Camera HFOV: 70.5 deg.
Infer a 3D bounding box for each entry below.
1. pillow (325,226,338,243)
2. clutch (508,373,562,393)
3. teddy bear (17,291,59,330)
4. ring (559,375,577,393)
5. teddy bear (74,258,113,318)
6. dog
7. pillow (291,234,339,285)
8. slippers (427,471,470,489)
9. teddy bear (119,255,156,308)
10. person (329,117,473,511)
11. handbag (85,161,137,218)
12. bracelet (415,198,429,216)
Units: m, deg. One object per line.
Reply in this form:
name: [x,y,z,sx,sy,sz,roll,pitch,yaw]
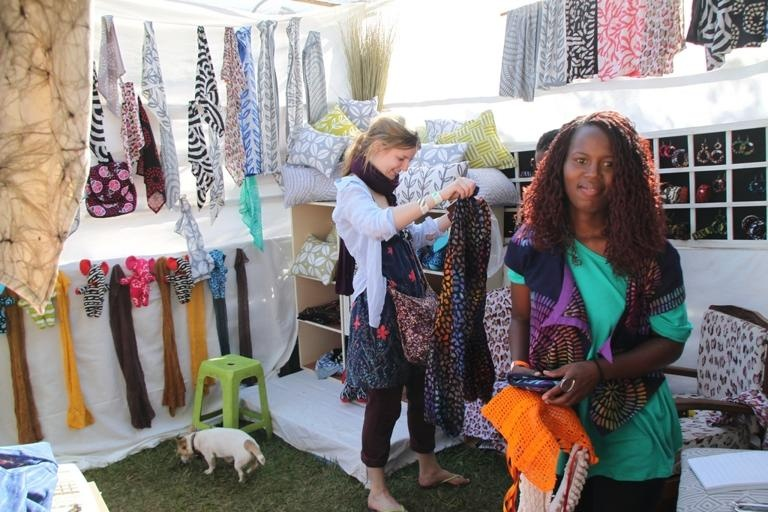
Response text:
pillow: [-0.495,-0.200,5.122,0.069,0.159,0.151,14,40,-15]
clutch: [0.558,0.479,2.074,0.129,0.032,0.077,-4,-2,41]
teddy bear: [-2.577,0.437,4.078,0.243,0.263,0.198,-10,13,-34]
ring: [0.670,0.475,1.988,0.047,0.054,0.016,1,11,18]
teddy bear: [-2.299,0.264,4.322,0.268,0.476,0.161,-9,12,-31]
dog: [-1.177,1.439,3.992,0.715,0.371,0.198,1,10,17]
pillow: [-0.588,0.048,5.015,0.432,0.443,0.141,8,-24,35]
slippers: [0.427,1.501,3.625,0.281,0.069,0.112,-3,2,1]
teddy bear: [-2.012,0.219,4.489,0.252,0.443,0.169,-6,11,-20]
person: [0.056,0.426,3.229,0.798,2.455,0.624,2,11,21]
handbag: [-2.164,-0.524,4.313,0.375,0.447,0.190,-9,12,-33]
bracelet: [0.208,-0.250,2.886,0.066,0.091,0.037,-1,-17,45]
